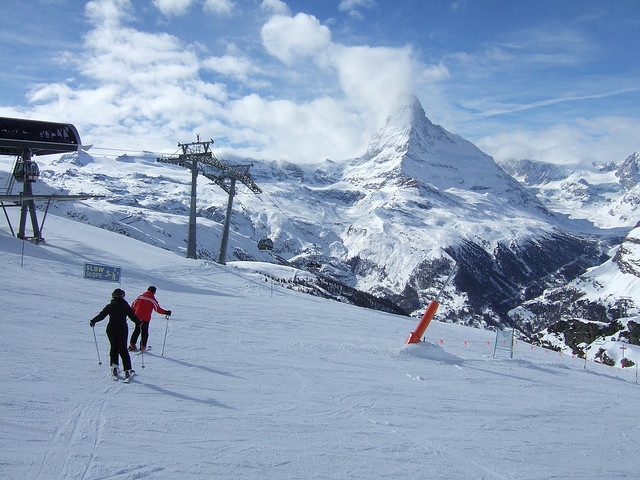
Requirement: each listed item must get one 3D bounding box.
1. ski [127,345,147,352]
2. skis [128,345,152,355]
[{"bbox_3d":[-6.483,3.846,21.122,0.187,0.150,0.749,17,11,43],"label":"ski"},{"bbox_3d":[-6.320,3.867,21.155,0.868,0.268,0.225,-14,34,-18],"label":"skis"}]
